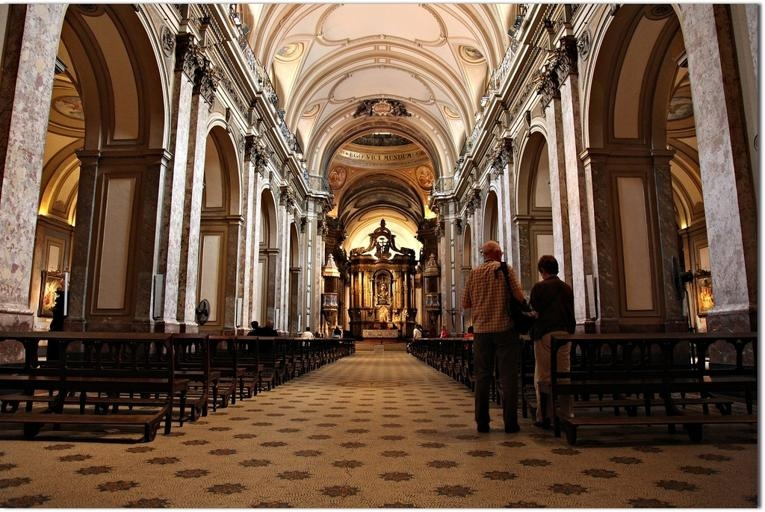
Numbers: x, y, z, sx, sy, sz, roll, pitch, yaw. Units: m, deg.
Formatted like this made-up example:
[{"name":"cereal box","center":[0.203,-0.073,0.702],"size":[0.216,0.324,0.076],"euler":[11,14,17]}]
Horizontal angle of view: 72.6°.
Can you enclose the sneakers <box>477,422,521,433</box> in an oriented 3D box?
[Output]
[{"name":"sneakers","center":[1.284,1.892,5.752],"size":[0.463,0.119,0.223],"euler":[-4,-11,12]}]

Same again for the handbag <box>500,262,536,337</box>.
[{"name":"handbag","center":[1.558,0.468,5.902],"size":[0.397,0.836,0.212],"euler":[2,-11,-22]}]
